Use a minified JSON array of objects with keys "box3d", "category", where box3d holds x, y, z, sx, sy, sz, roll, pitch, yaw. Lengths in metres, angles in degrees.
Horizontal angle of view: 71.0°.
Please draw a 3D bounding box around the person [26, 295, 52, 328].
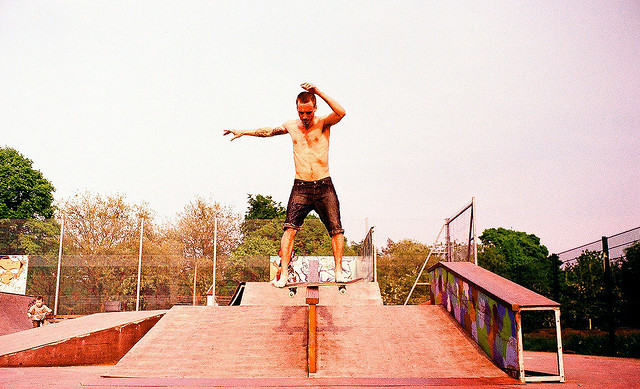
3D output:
[{"box3d":[-9.466,4.117,15.145,0.737,1.398,0.461,0,12,-30],"category":"person"}]
